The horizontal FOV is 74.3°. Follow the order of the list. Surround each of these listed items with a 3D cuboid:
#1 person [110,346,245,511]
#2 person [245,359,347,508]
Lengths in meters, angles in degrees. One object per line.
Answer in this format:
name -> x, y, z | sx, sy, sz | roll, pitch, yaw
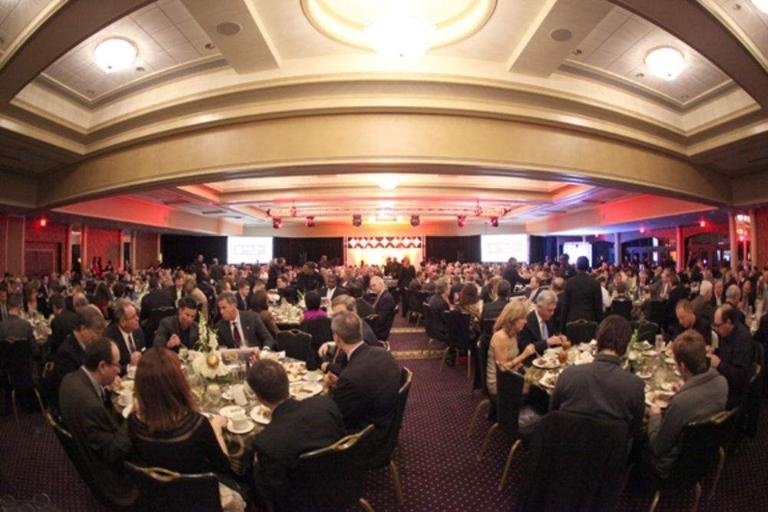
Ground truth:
person -> -1.847, 1.428, 4.433 | 0.871, 1.166, 0.405 | 6, 16, 24
person -> -0.781, 1.493, 4.424 | 0.774, 1.072, 0.453 | -1, 14, -5
